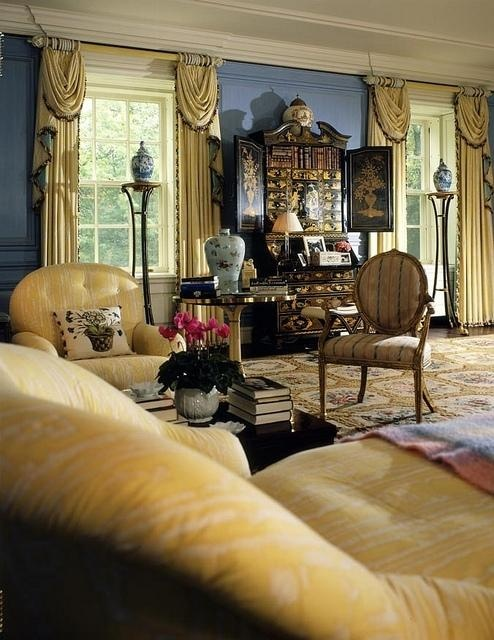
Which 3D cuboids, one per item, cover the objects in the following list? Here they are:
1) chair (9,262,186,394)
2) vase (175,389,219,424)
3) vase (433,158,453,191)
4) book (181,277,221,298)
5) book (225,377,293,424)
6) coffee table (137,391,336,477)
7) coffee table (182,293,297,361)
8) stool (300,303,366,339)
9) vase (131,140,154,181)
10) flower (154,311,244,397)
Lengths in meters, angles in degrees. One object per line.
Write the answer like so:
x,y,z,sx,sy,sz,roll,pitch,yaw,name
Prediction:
-0.863,-0.026,2.877,0.990,0.865,0.806,0,-4,-31,chair
-0.180,0.306,1.899,0.141,0.096,0.140,0,1,28,vase
2.418,-1.797,6.434,0.205,0.417,0.465,-2,13,20,vase
-0.307,-0.201,3.729,0.235,0.114,0.175,1,2,20,book
0.053,0.303,1.959,0.244,0.109,0.165,3,10,-9,book
0.069,0.405,1.799,0.393,0.089,0.390,-4,12,-33,coffee table
-0.117,-0.056,3.869,0.738,0.445,0.698,-1,0,-14,coffee table
0.765,-0.031,4.298,0.440,0.141,0.419,-1,6,-13,stool
-0.971,-1.461,4.786,0.227,0.354,0.216,4,10,5,vase
-0.170,0.126,1.977,0.337,0.314,0.345,-4,9,-37,flower
